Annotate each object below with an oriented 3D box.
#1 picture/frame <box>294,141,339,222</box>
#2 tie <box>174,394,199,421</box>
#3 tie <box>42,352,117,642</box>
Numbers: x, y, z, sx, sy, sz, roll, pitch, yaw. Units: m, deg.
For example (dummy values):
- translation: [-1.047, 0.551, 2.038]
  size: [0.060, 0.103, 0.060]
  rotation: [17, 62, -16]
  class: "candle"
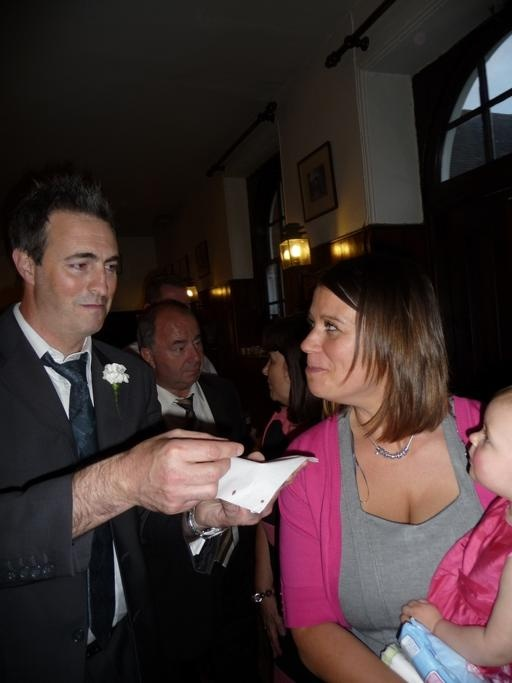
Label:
- translation: [0.540, -1.410, 4.606]
  size: [0.031, 0.812, 0.770]
  rotation: [-4, -7, -20]
  class: "picture/frame"
- translation: [-0.358, 0.352, 2.738]
  size: [0.038, 0.106, 0.106]
  rotation: [-10, -6, 33]
  class: "tie"
- translation: [-0.542, 0.415, 1.613]
  size: [0.226, 0.867, 0.094]
  rotation: [-6, -11, -22]
  class: "tie"
